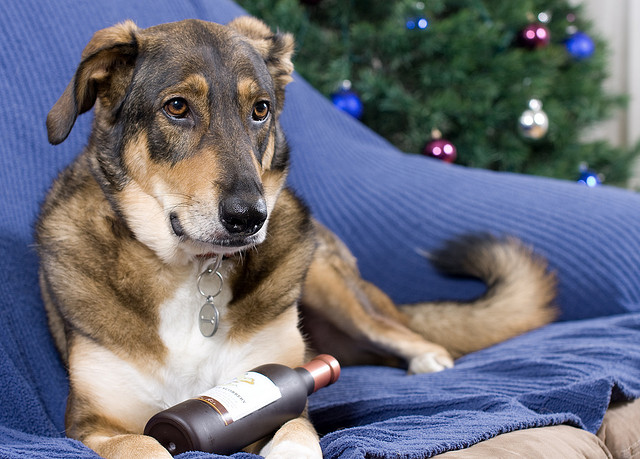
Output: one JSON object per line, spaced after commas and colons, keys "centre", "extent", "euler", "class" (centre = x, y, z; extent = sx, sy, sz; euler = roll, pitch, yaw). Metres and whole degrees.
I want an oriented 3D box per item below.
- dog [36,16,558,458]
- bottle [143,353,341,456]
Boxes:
{"centre": [-0.375, 0.069, 3.343], "extent": [2.028, 1.420, 1.582], "euler": [4, 9, -15], "class": "dog"}
{"centre": [-0.227, 0.561, 2.734], "extent": [0.743, 0.236, 0.239], "euler": [-15, 83, -46], "class": "bottle"}
